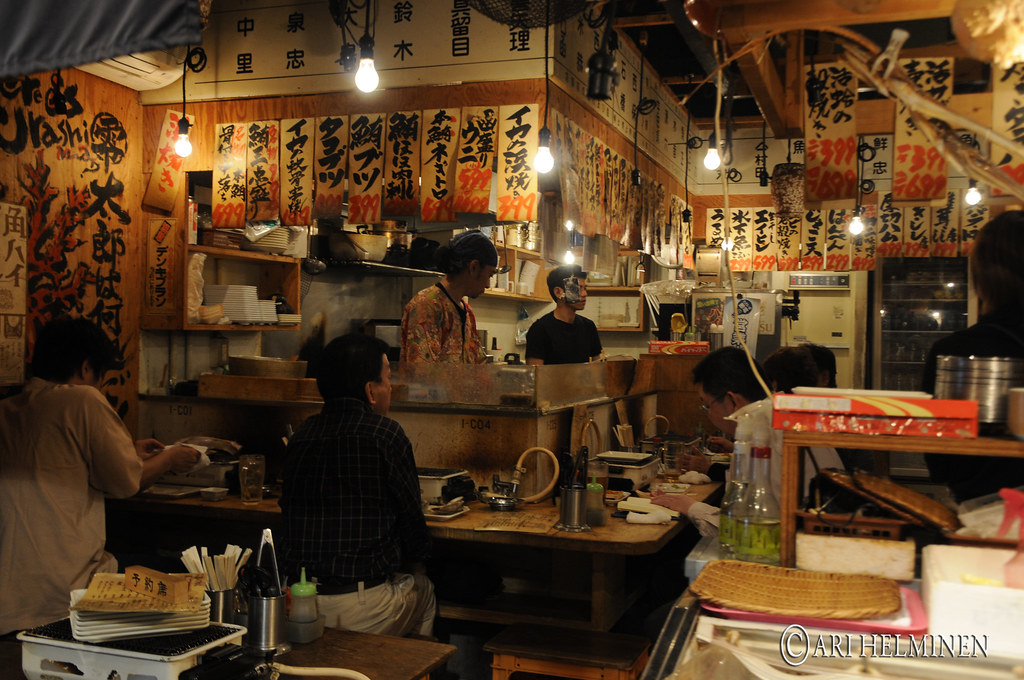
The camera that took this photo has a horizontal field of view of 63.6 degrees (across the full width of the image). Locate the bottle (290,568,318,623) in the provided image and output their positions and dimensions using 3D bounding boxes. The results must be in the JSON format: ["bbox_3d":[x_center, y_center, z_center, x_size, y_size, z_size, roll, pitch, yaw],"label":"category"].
[{"bbox_3d":[-0.807,0.970,3.190,0.097,0.163,0.172,1,-1,-15],"label":"bottle"}]

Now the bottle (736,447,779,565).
[{"bbox_3d":[0.909,0.590,2.955,0.129,0.406,0.213,1,-1,-25],"label":"bottle"}]

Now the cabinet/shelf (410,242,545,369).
[{"bbox_3d":[-0.299,-0.209,5.523,0.687,1.243,0.830,1,0,-1],"label":"cabinet/shelf"}]

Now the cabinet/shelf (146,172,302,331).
[{"bbox_3d":[-2.029,-0.625,5.692,0.335,0.861,1.060,-2,-4,22],"label":"cabinet/shelf"}]

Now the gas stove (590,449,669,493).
[{"bbox_3d":[0.682,0.754,4.824,0.255,0.132,0.340,2,2,22],"label":"gas stove"}]

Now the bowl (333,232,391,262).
[{"bbox_3d":[-1.313,-0.797,7.054,0.331,0.147,0.266,2,-6,0],"label":"bowl"}]

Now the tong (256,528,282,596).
[{"bbox_3d":[-0.848,0.800,2.952,0.018,0.234,0.105,-10,-7,-26],"label":"tong"}]

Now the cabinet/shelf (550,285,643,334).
[{"bbox_3d":[1.212,-0.384,9.718,0.901,0.542,0.491,2,-5,9],"label":"cabinet/shelf"}]

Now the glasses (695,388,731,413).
[{"bbox_3d":[1.096,0.367,4.455,0.175,0.180,0.056,6,14,21],"label":"glasses"}]

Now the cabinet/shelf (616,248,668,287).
[{"bbox_3d":[1.375,-0.796,8.964,0.439,0.421,0.236,10,-26,-25],"label":"cabinet/shelf"}]

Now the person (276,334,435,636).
[{"bbox_3d":[-0.713,0.706,3.909,0.730,1.159,0.333,1,-1,-15],"label":"person"}]

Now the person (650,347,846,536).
[{"bbox_3d":[1.100,0.438,4.106,1.051,1.059,0.718,0,1,32],"label":"person"}]

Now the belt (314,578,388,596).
[{"bbox_3d":[-0.750,1.126,3.760,0.225,0.051,0.224,0,-6,6],"label":"belt"}]
